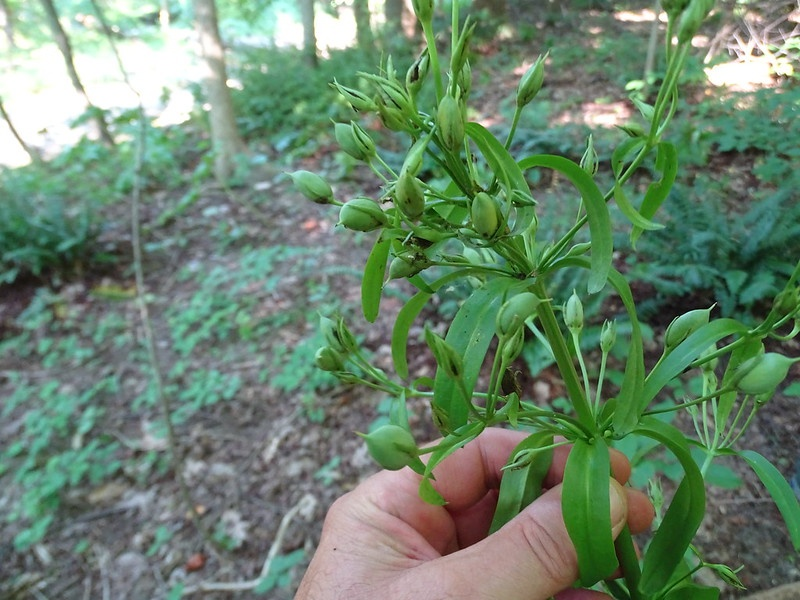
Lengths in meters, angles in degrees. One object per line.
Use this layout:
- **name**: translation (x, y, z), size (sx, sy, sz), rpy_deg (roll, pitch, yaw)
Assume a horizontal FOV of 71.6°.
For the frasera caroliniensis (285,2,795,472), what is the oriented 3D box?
- **frasera caroliniensis**: translation (0.289, -0.034, 1.284), size (0.990, 1.178, 0.646), rpy_deg (-11, 31, -11)
